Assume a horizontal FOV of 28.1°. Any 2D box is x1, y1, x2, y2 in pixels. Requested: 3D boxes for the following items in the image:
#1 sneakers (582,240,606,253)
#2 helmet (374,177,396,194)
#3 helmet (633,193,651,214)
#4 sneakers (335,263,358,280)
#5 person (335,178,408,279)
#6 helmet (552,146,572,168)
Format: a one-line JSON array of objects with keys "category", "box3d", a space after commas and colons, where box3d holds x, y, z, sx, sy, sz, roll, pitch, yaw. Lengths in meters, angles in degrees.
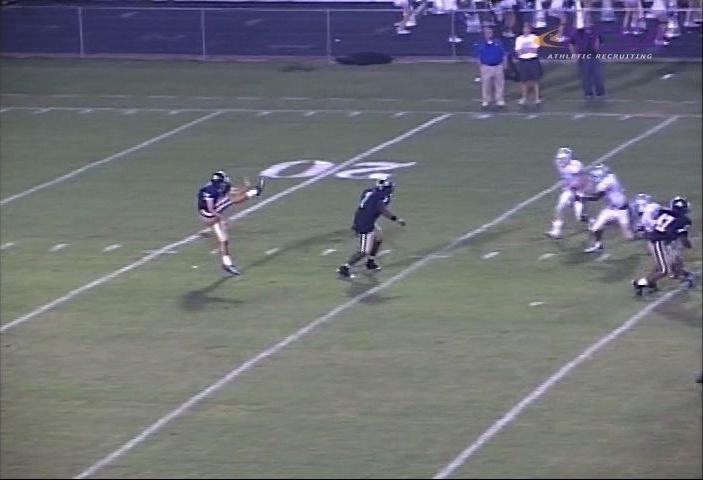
[{"category": "sneakers", "box3d": [4.476, 0.140, 25.888, 0.380, 0.108, 0.219, -11, 18, -6]}, {"category": "helmet", "box3d": [0.606, -0.949, 25.081, 0.274, 0.260, 0.317, -1, 11, 8]}, {"category": "helmet", "box3d": [5.032, -0.637, 24.402, 0.268, 0.310, 0.544, -2, 10, 6]}, {"category": "sneakers", "box3d": [-0.080, 0.576, 25.348, 0.367, 0.114, 0.277, 12, 2, 28]}, {"category": "person", "box3d": [0.396, -0.131, 26.385, 1.740, 2.050, 1.101, -5, 46, -15]}, {"category": "helmet", "box3d": [3.887, -1.560, 26.043, 0.496, 0.235, 0.620, 2, 31, 13]}]
